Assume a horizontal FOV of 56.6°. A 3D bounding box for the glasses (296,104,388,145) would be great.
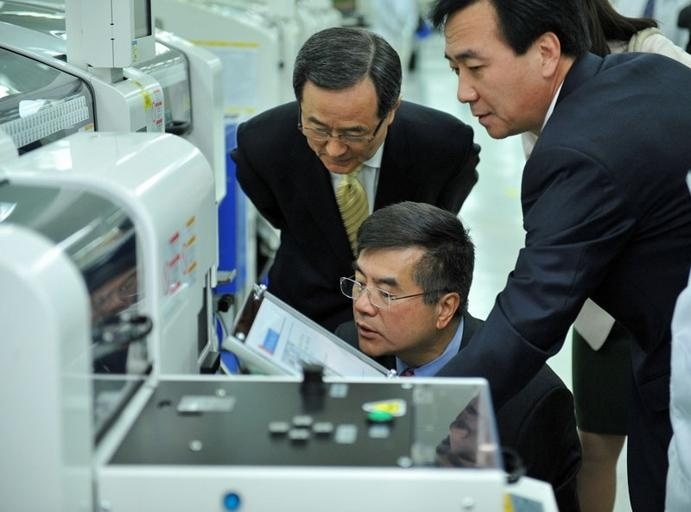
[{"bbox_3d":[-0.007,-0.369,1.893,0.240,0.057,0.115,2,24,0],"label":"glasses"}]
